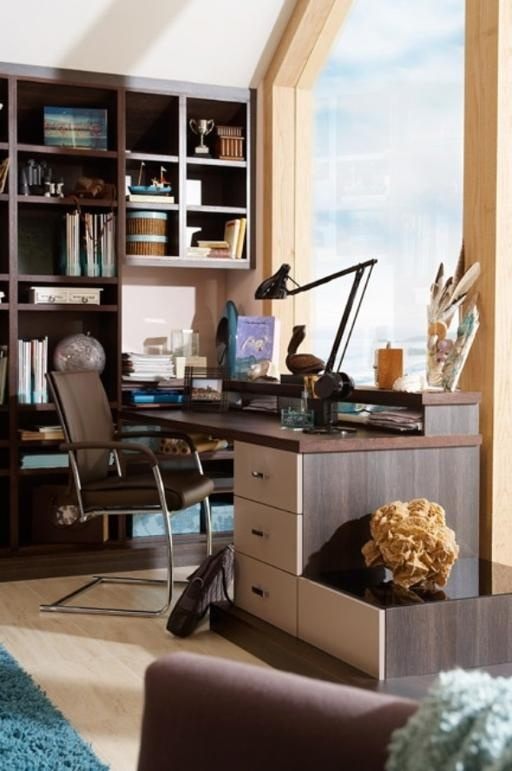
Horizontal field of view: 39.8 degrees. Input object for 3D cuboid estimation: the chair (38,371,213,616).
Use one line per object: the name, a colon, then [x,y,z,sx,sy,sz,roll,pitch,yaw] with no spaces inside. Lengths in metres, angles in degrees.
chair: [-0.538,0.435,3.081,0.634,0.992,0.615,1,1,5]

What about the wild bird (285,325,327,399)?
wild bird: [0.225,-0.108,3.155,0.183,0.326,0.105,-4,-6,28]

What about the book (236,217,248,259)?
book: [-0.083,-0.835,4.006,0.043,0.178,0.180,4,8,-13]

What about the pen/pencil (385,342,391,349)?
pen/pencil: [0.489,-0.149,2.628,0.014,0.024,0.033,0,-1,17]

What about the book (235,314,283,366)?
book: [0.013,-0.221,3.519,0.274,0.343,0.037,1,5,-3]

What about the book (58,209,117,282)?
book: [-0.972,-0.742,3.811,0.351,0.406,0.294,1,0,-26]

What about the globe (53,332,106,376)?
globe: [-0.921,-0.158,3.664,0.147,0.169,0.146,23,57,17]

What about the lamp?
lamp: [0.194,-0.155,2.713,0.152,0.638,0.710,3,0,-31]

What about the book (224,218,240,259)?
book: [-0.137,-0.843,4.016,0.044,0.183,0.182,2,2,-14]
